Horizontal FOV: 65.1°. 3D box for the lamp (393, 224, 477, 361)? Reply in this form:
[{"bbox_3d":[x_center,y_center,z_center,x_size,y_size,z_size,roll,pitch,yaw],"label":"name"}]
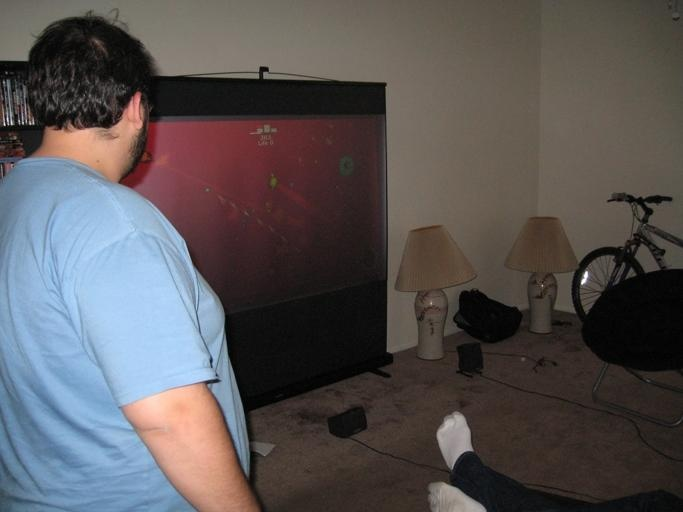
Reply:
[{"bbox_3d":[0.645,0.277,3.642,0.497,0.990,0.408,3,13,23],"label":"lamp"}]

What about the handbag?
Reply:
[{"bbox_3d":[1.134,0.482,4.209,0.403,0.193,0.423,-27,31,-33],"label":"handbag"}]

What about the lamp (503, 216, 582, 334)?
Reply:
[{"bbox_3d":[1.543,0.161,4.167,0.517,0.941,0.336,1,12,17],"label":"lamp"}]
